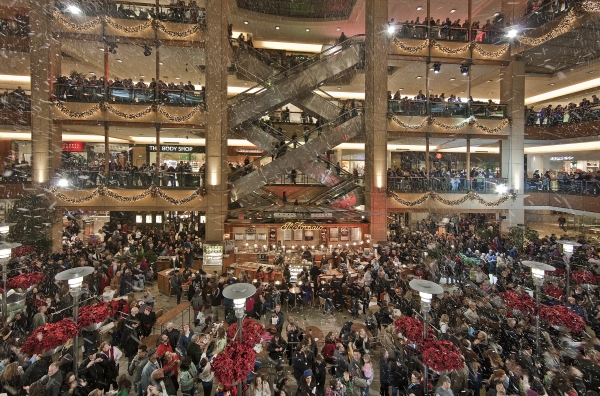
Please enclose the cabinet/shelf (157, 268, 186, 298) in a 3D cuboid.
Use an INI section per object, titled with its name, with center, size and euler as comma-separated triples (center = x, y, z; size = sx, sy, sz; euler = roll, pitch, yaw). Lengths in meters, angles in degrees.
[cabinet/shelf]
center = -8.198, 5.337, 29.254
size = 1.019, 1.272, 1.401
euler = 6, 9, 25
